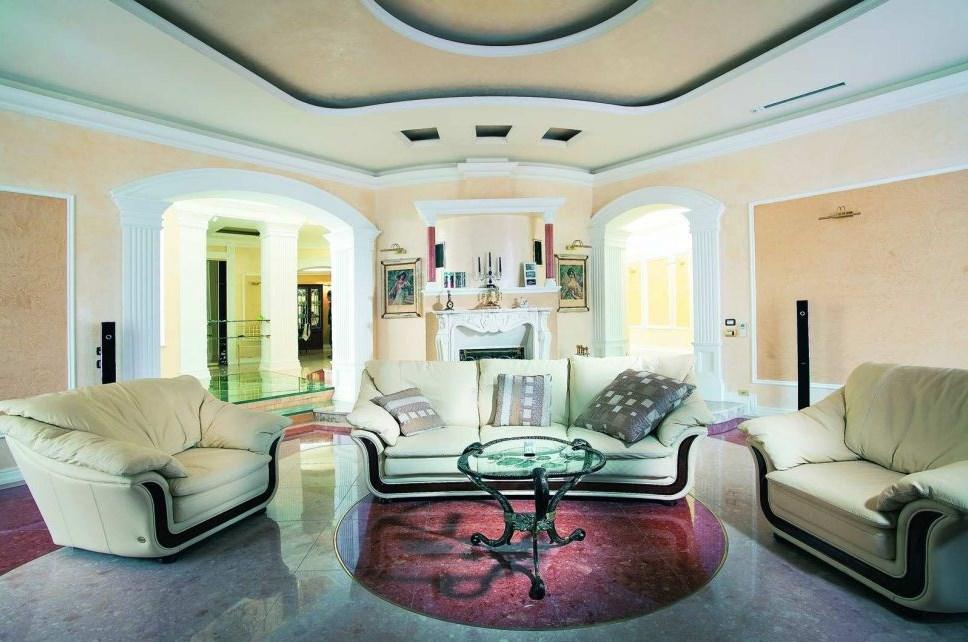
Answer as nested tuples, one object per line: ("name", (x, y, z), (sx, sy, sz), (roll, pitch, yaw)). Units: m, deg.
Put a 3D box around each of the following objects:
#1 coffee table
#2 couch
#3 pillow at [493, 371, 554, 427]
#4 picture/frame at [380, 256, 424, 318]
("coffee table", (0.363, 1.521, 4.927), (1.029, 0.676, 0.939), (1, -10, -13))
("couch", (0.360, 0.989, 5.847), (3.476, 1.182, 1.195), (-1, 7, 3))
("pillow", (0.415, 0.760, 5.858), (0.630, 0.529, 0.160), (9, -12, -7))
("picture/frame", (-1.170, -0.511, 8.777), (1.003, 1.161, 0.138), (0, -2, 14))
